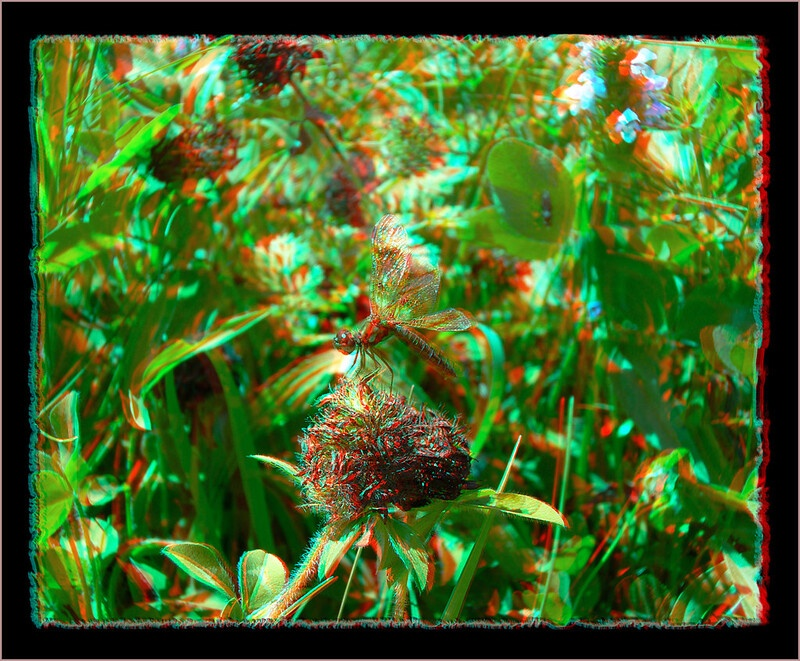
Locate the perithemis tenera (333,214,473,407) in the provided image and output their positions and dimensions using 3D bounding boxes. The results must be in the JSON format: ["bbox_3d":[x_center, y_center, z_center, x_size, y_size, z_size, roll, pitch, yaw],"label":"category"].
[{"bbox_3d":[0.015,-0.011,1.503,0.266,0.400,0.310,8,-73,-3],"label":"perithemis tenera"}]
